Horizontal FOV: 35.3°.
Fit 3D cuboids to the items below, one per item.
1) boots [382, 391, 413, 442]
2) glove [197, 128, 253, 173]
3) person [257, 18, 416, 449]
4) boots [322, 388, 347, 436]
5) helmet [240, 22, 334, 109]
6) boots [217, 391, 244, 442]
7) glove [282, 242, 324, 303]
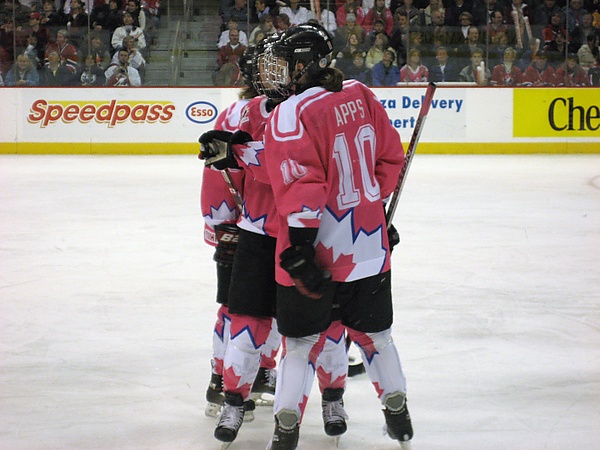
[{"bbox_3d":[0.559,1.100,5.459,0.208,0.270,0.097,-15,-2,1],"label":"boots"},{"bbox_3d":[-0.459,-0.436,5.398,0.306,0.200,0.117,5,38,13],"label":"glove"},{"bbox_3d":[0.173,0.058,5.362,0.760,2.407,0.420,0,8,-6],"label":"person"},{"bbox_3d":[0.187,1.087,5.525,0.117,0.132,0.306,-4,21,2],"label":"boots"},{"bbox_3d":[-0.048,-0.911,5.342,0.542,0.374,0.374,-12,18,15],"label":"helmet"},{"bbox_3d":[-0.416,1.119,5.498,0.136,0.280,0.176,2,8,9],"label":"boots"},{"bbox_3d":[0.028,0.250,5.183,0.215,0.296,0.122,-23,8,15],"label":"glove"}]
